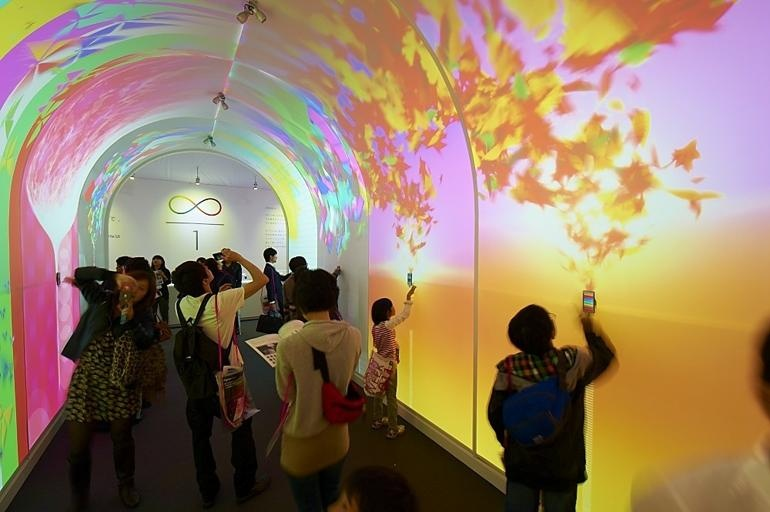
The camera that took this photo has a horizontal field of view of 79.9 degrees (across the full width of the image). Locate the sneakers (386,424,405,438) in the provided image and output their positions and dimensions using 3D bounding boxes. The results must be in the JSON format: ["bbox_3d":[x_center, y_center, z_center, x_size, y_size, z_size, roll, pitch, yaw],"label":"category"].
[{"bbox_3d":[0.123,1.876,4.989,0.082,0.103,0.245,5,8,28],"label":"sneakers"}]

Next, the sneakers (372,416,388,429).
[{"bbox_3d":[-0.050,1.832,5.082,0.131,0.048,0.131,1,-2,2],"label":"sneakers"}]

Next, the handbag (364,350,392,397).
[{"bbox_3d":[-0.077,1.173,4.622,0.135,0.410,0.300,16,-8,-39],"label":"handbag"}]

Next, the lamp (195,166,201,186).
[{"bbox_3d":[-4.106,-1.783,10.193,0.131,0.384,0.165,-10,16,-35],"label":"lamp"}]

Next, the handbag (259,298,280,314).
[{"bbox_3d":[-1.710,0.752,6.909,0.231,0.251,0.178,2,9,-7],"label":"handbag"}]

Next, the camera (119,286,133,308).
[{"bbox_3d":[-2.149,0.339,3.835,0.047,0.134,0.134,-4,16,25],"label":"camera"}]

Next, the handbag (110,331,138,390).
[{"bbox_3d":[-2.168,0.872,3.847,0.100,0.432,0.253,-2,0,6],"label":"handbag"}]

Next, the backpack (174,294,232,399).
[{"bbox_3d":[-1.561,0.764,3.850,0.352,0.874,0.186,-3,13,-11],"label":"backpack"}]

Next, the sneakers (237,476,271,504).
[{"bbox_3d":[-1.182,2.098,4.178,0.098,0.117,0.291,4,8,26],"label":"sneakers"}]

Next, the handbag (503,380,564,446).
[{"bbox_3d":[1.044,1.099,3.275,0.482,0.341,0.165,-41,5,27],"label":"handbag"}]
